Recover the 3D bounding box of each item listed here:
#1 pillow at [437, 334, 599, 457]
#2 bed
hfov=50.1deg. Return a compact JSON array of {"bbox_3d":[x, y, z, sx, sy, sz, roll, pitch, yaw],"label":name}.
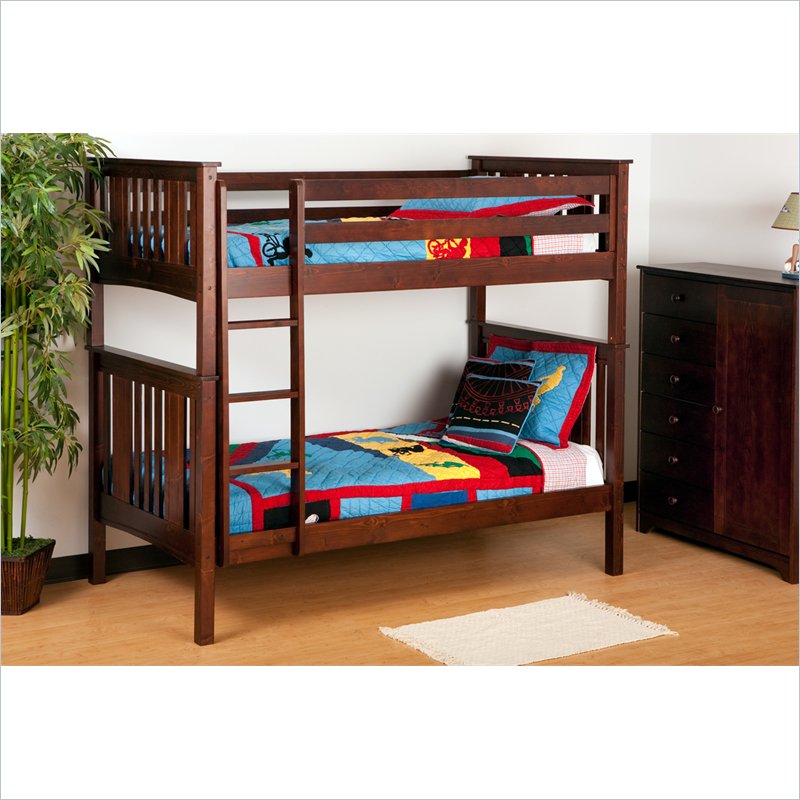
[{"bbox_3d":[0.542,-0.045,3.650,0.573,0.485,0.176,8,-10,44],"label":"pillow"},{"bbox_3d":[-0.160,-0.129,3.708,2.144,1.459,1.170,-8,8,-37],"label":"bed"}]
